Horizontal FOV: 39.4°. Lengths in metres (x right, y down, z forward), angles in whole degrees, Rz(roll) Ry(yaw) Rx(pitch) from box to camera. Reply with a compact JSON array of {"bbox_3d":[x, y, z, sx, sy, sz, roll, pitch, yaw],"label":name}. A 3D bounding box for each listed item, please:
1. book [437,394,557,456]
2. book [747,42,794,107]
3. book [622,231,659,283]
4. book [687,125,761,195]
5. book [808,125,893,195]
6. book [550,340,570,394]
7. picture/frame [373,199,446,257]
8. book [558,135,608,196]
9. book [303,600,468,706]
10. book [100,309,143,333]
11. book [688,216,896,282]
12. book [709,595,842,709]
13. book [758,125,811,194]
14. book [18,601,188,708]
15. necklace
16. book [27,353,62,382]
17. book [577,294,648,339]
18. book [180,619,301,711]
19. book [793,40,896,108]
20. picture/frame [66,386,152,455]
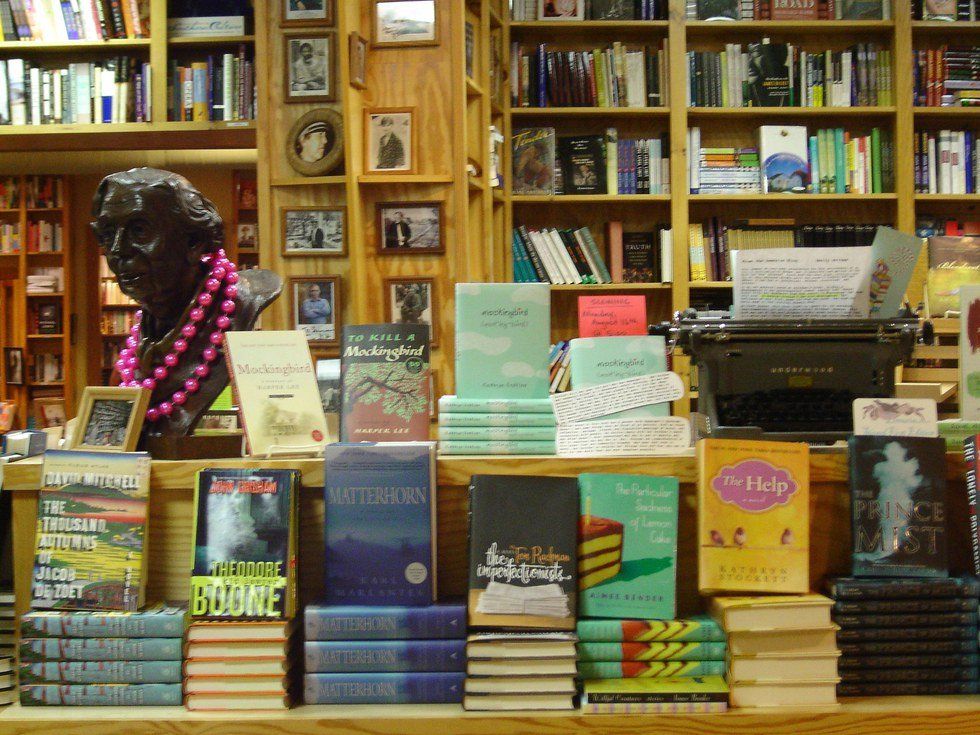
[{"bbox_3d":[0.022,0.180,4.106,0.342,0.109,0.208,0,1,2],"label":"book"},{"bbox_3d":[1.418,-1.476,6.917,0.216,0.328,0.059,-2,5,9],"label":"book"},{"bbox_3d":[0.775,-0.557,7.027,0.343,0.241,0.067,1,-4,3],"label":"book"},{"bbox_3d":[1.191,-1.011,6.896,0.361,0.341,0.133,4,-10,0],"label":"book"},{"bbox_3d":[1.835,-1.046,6.941,0.425,0.316,0.068,-2,5,6],"label":"book"},{"bbox_3d":[0.337,-0.009,6.654,0.091,0.209,0.179,13,-10,0],"label":"book"},{"bbox_3d":[-0.354,-0.635,6.121,0.353,0.206,0.026,0,1,-1],"label":"picture/frame"},{"bbox_3d":[0.471,-1.034,6.969,0.356,0.262,0.076,0,5,12],"label":"book"},{"bbox_3d":[-0.309,0.844,4.031,0.482,0.290,0.049,-2,5,1],"label":"book"},{"bbox_3d":[-2.297,-0.290,8.457,0.189,0.176,0.220,0,1,-2],"label":"book"},{"bbox_3d":[1.221,-0.489,5.671,0.616,0.140,0.371,0,0,-1],"label":"book"},{"bbox_3d":[0.865,0.837,4.134,0.413,0.216,0.348,-1,-1,1],"label":"book"},{"bbox_3d":[1.500,-1.051,6.940,0.251,0.343,0.082,-2,5,3],"label":"book"},{"bbox_3d":[-1.151,0.849,4.102,0.403,0.170,0.344,1,-1,-4],"label":"book"},{"bbox_3d":[-0.974,-0.111,4.426,0.154,0.559,0.394,38,-8,-23],"label":"necklace"},{"bbox_3d":[-3.082,0.002,9.589,0.229,0.226,0.268,-1,-1,9],"label":"book"},{"bbox_3d":[0.391,-0.167,4.359,0.209,0.124,0.292,-2,5,3],"label":"book"},{"bbox_3d":[-0.742,0.873,4.005,0.346,0.150,0.290,0,1,-4],"label":"book"},{"bbox_3d":[1.790,-1.478,6.953,0.510,0.296,0.106,-2,5,5],"label":"book"},{"bbox_3d":[-1.158,0.166,4.182,0.264,0.192,0.064,3,-20,2],"label":"picture/frame"}]
